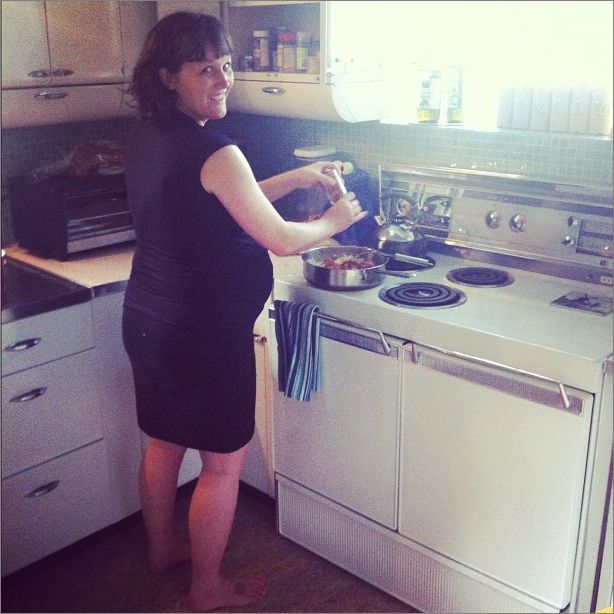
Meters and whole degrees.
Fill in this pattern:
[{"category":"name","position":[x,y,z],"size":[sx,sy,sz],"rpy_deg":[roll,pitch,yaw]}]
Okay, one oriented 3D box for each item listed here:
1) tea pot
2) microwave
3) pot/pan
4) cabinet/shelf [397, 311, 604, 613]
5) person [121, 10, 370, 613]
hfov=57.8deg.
[{"category":"tea pot","position":[0.309,-0.240,1.832],"size":[0.223,0.269,0.232],"rpy_deg":[3,9,0]},{"category":"microwave","position":[-0.801,-0.323,1.984],"size":[0.323,0.302,0.460],"rpy_deg":[17,28,38]},{"category":"pot/pan","position":[0.088,-0.119,1.638],"size":[0.152,0.054,0.255],"rpy_deg":[-17,29,-39]},{"category":"cabinet/shelf","position":[0.478,0.314,1.627],"size":[0.536,0.788,0.523],"rpy_deg":[12,17,43]},{"category":"person","position":[-0.212,0.109,1.457],"size":[0.537,1.578,0.287],"rpy_deg":[-3,19,-13]}]
